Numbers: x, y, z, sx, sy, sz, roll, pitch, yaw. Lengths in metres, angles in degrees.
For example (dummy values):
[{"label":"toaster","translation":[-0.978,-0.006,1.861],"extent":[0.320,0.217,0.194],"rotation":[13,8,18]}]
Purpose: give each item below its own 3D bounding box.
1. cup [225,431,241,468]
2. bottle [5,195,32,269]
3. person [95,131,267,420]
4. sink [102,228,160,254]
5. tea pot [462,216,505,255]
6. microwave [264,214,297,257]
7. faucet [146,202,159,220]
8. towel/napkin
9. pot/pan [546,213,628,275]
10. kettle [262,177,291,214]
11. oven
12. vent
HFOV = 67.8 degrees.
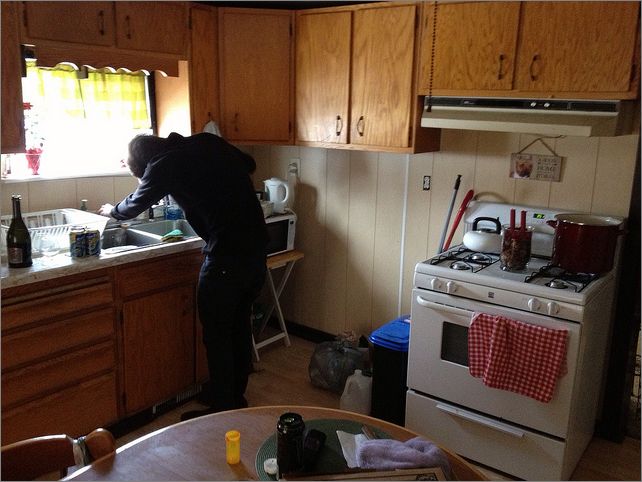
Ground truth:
[{"label":"cup","translation":[-0.274,0.618,1.478],"extent":[0.045,0.088,0.112],"rotation":[-1,13,-10]},{"label":"bottle","translation":[-1.516,-0.047,2.371],"extent":[0.111,0.340,0.173],"rotation":[-7,15,-30]},{"label":"person","translation":[-0.750,0.168,3.042],"extent":[0.965,1.700,0.917],"rotation":[5,11,17]},{"label":"sink","translation":[-1.223,-0.009,2.989],"extent":[0.223,0.144,0.233],"rotation":[-8,19,-42]},{"label":"tea pot","translation":[0.971,-0.040,2.873],"extent":[0.227,0.198,0.226],"rotation":[2,6,0]},{"label":"microwave","translation":[-0.312,-0.042,3.538],"extent":[0.167,0.211,0.255],"rotation":[14,23,34]},{"label":"faucet","translation":[-1.110,-0.193,3.129],"extent":[0.078,0.122,0.119],"rotation":[2,0,-31]},{"label":"towel/napkin","translation":[0.222,0.615,1.374],"extent":[0.150,0.056,0.152],"rotation":[0,1,-5]},{"label":"pot/pan","translation":[1.431,0.021,2.581],"extent":[0.364,0.291,0.316],"rotation":[-6,15,-27]},{"label":"kettle","translation":[-0.348,-0.356,3.733],"extent":[0.179,0.257,0.264],"rotation":[0,13,-6]},{"label":"oven","translation":[0.963,0.644,2.616],"extent":[0.885,0.838,0.478],"rotation":[7,2,40]},{"label":"vent","translation":[1.100,-0.699,2.647],"extent":[1.072,0.207,0.368],"rotation":[8,15,28]}]
